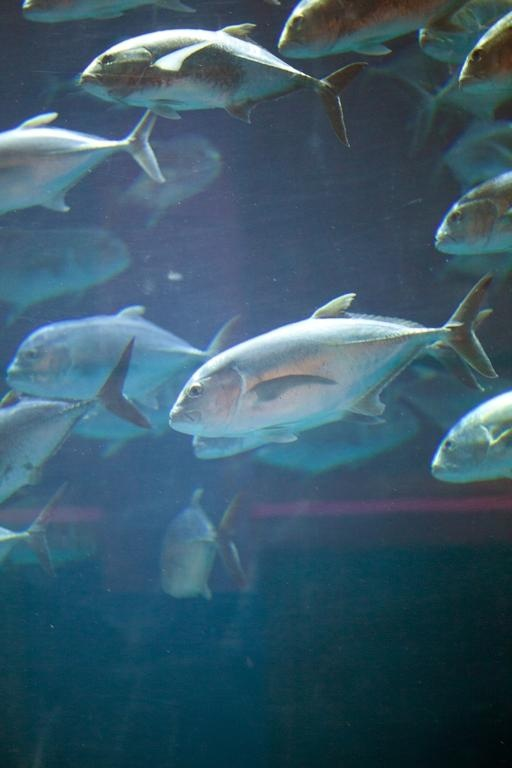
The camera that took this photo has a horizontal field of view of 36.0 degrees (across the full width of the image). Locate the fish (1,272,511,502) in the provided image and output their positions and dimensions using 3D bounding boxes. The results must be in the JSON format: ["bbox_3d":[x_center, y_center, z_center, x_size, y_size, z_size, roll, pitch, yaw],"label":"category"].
[{"bbox_3d":[0.007,-0.009,1.484,0.807,0.270,0.242,-17,13,3],"label":"fish"}]

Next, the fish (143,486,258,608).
[{"bbox_3d":[-0.100,0.358,1.678,0.176,0.225,0.174,18,16,-34],"label":"fish"}]
